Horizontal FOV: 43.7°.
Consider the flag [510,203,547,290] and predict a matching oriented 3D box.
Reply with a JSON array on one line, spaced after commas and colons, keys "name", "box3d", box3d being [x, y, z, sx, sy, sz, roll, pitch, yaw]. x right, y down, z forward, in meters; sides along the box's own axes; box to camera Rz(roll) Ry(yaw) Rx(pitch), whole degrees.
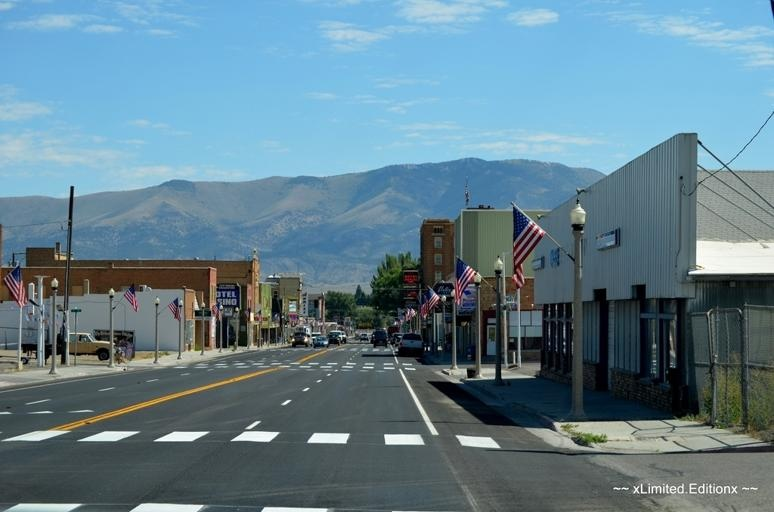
[{"name": "flag", "box3d": [6.172, -0.752, 40.725, 1.877, 4.396, 1.701, 0, -1, -5]}]

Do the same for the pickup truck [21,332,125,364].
[{"name": "pickup truck", "box3d": [-22.272, 7.001, 71.333, 5.803, 2.373, 2.413, 0, -3, -4]}]

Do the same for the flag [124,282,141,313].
[{"name": "flag", "box3d": [-22.819, 3.828, 86.684, 1.670, 0.443, 4.056, 40, -15, -6]}]
